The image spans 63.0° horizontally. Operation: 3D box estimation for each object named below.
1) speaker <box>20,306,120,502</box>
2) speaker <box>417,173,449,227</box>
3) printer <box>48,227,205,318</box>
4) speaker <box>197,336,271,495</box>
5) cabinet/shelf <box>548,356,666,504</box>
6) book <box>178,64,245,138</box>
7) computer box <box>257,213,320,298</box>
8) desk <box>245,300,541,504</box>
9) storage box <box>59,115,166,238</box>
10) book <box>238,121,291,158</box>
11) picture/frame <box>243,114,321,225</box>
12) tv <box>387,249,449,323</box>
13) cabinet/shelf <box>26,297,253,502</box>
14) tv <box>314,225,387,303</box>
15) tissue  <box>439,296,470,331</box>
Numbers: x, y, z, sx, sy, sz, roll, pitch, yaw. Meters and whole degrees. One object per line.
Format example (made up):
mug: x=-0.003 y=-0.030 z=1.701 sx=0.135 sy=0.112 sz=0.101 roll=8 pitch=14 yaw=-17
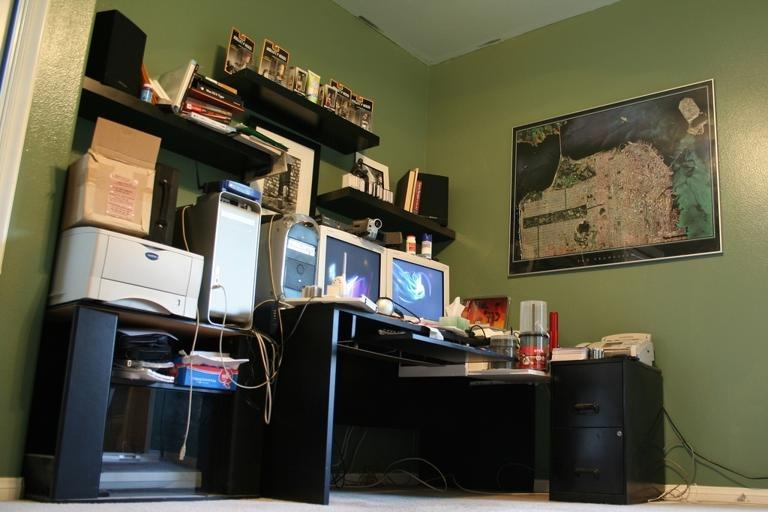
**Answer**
speaker: x=-1.548 y=0.696 z=3.021 sx=0.471 sy=0.888 sz=0.223 roll=-5 pitch=-15 yaw=28
speaker: x=0.414 y=-0.484 z=5.546 sx=0.391 sy=0.379 sz=0.214 roll=3 pitch=-5 yaw=-13
printer: x=-1.312 y=0.172 z=3.150 sx=0.677 sy=0.436 sz=0.468 roll=19 pitch=-22 yaw=-41
speaker: x=-0.901 y=0.902 z=3.471 sx=0.232 sy=0.800 sz=0.287 roll=-6 pitch=-35 yaw=-7
cabinet/shelf: x=1.472 y=1.090 z=3.967 sx=0.858 sy=0.872 sz=0.408 roll=9 pitch=-15 yaw=-27
book: x=-1.076 y=-0.939 z=4.006 sx=0.365 sy=0.235 sz=0.381 roll=-8 pitch=-18 yaw=28
computer box: x=-0.621 y=0.032 z=3.839 sx=0.335 sy=0.506 sz=0.412 roll=10 pitch=-12 yaw=-41
desk: x=0.184 y=1.013 z=4.074 sx=1.403 sy=1.123 sz=2.075 roll=-2 pitch=-14 yaw=21
storage box: x=-1.460 y=-0.392 z=3.346 sx=0.415 sy=0.536 sz=0.419 roll=9 pitch=-10 yaw=-31
book: x=-0.803 y=-0.741 z=4.098 sx=0.235 sy=0.056 sz=0.236 roll=22 pitch=-2 yaw=40
picture/frame: x=-0.733 y=-0.600 z=4.356 sx=0.034 sy=0.862 sz=0.764 roll=-6 pitch=-9 yaw=36
tv: x=0.247 y=0.246 z=4.726 sx=0.438 sy=0.386 sz=0.251 roll=16 pitch=-23 yaw=-42
cabinet/shelf: x=-1.256 y=0.737 z=3.107 sx=0.869 sy=0.750 sz=0.462 roll=14 pitch=-20 yaw=-41
tv: x=-0.126 y=0.124 z=4.622 sx=0.611 sy=0.538 sz=0.334 roll=12 pitch=14 yaw=36
tissue : x=0.489 y=0.429 z=4.417 sx=0.178 sy=0.302 sz=0.316 roll=-3 pitch=-9 yaw=27
